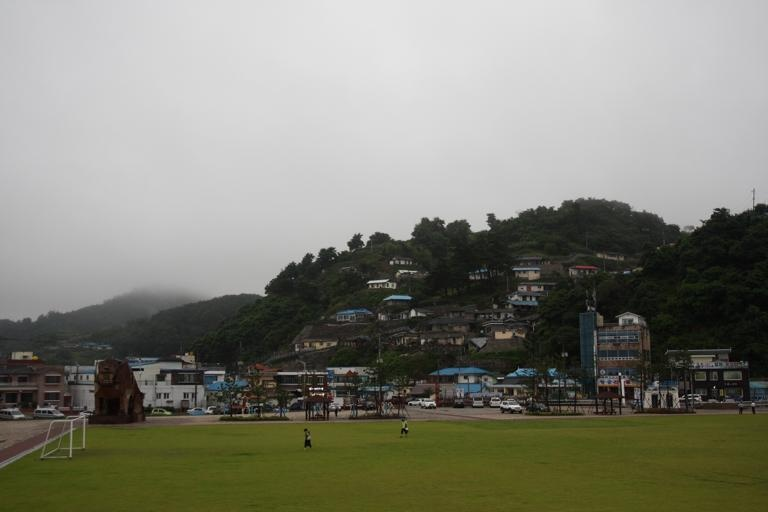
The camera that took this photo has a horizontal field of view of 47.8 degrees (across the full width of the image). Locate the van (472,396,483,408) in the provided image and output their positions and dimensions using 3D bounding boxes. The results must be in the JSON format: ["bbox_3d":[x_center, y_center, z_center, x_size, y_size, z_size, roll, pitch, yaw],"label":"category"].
[{"bbox_3d":[11.198,17.388,103.591,1.204,1.313,3.037,-1,-13,4],"label":"van"}]

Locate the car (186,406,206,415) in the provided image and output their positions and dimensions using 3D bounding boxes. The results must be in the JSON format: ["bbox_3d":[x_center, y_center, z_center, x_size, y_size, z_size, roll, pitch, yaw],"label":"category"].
[{"bbox_3d":[-22.145,18.238,102.405,1.371,0.835,2.819,1,-13,-8],"label":"car"}]

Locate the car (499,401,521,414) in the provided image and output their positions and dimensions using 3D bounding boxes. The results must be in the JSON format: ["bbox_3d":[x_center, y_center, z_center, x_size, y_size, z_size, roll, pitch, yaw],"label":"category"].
[{"bbox_3d":[13.095,15.408,88.847,1.107,0.813,2.244,2,-12,-22],"label":"car"}]

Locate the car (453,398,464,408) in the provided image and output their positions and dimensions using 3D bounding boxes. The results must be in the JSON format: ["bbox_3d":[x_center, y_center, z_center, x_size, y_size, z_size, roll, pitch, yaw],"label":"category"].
[{"bbox_3d":[9.044,17.619,104.454,1.413,0.874,2.255,0,-9,-2],"label":"car"}]

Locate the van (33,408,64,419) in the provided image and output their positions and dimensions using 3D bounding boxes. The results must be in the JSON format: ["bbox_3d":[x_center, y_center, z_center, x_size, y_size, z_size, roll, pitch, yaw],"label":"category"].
[{"bbox_3d":[-33.268,15.874,86.159,2.910,1.104,1.550,-1,-2,7],"label":"van"}]
